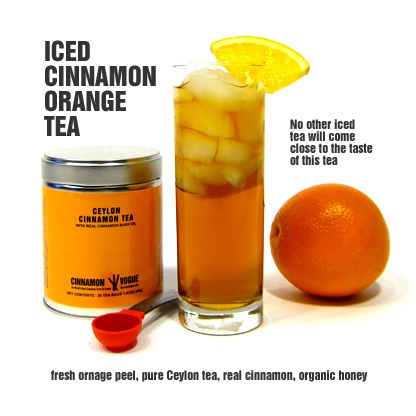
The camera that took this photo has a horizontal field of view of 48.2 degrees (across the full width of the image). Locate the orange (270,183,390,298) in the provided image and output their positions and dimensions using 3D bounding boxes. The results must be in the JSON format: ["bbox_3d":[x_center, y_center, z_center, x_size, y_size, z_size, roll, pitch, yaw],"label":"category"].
[{"bbox_3d":[0.489,0.134,1.749,0.485,0.351,0.411,-3,14,25],"label":"orange"}]
